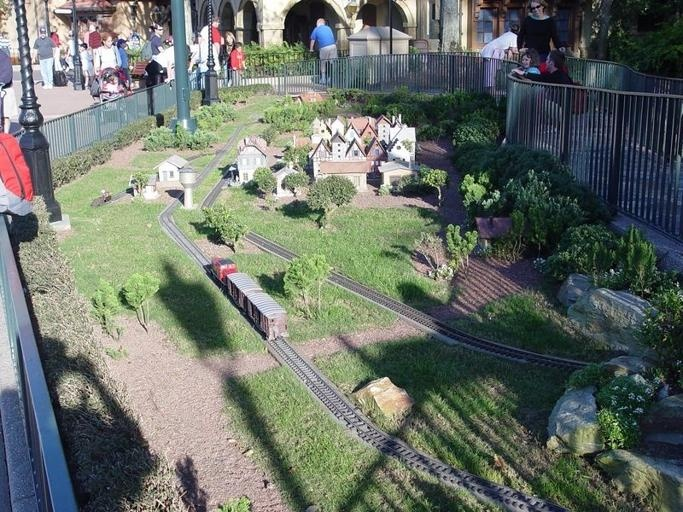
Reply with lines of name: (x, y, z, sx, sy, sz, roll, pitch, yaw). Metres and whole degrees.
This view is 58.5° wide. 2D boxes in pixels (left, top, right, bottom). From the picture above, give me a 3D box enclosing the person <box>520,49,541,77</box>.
person: (5.243, -5.565, 16.961, 0.469, 0.957, 0.863, 5, 53, 19)
